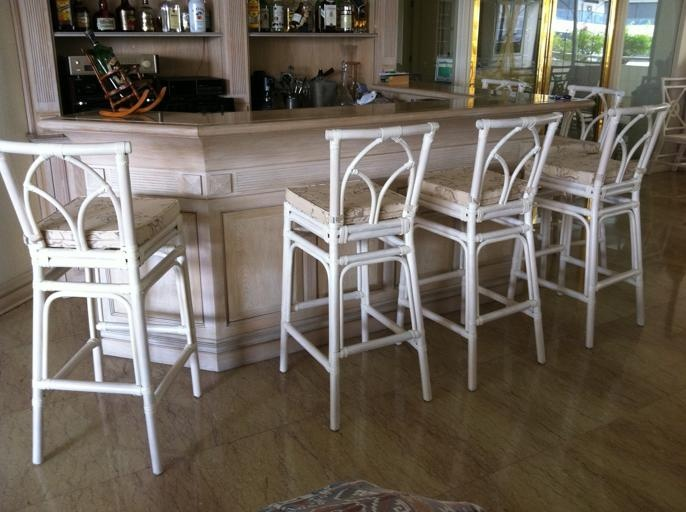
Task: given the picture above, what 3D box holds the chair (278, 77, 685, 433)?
[{"bbox_3d":[0.663,0.039,2.828,1.860,1.207,0.684,-13,27,-26],"label":"chair"}]
